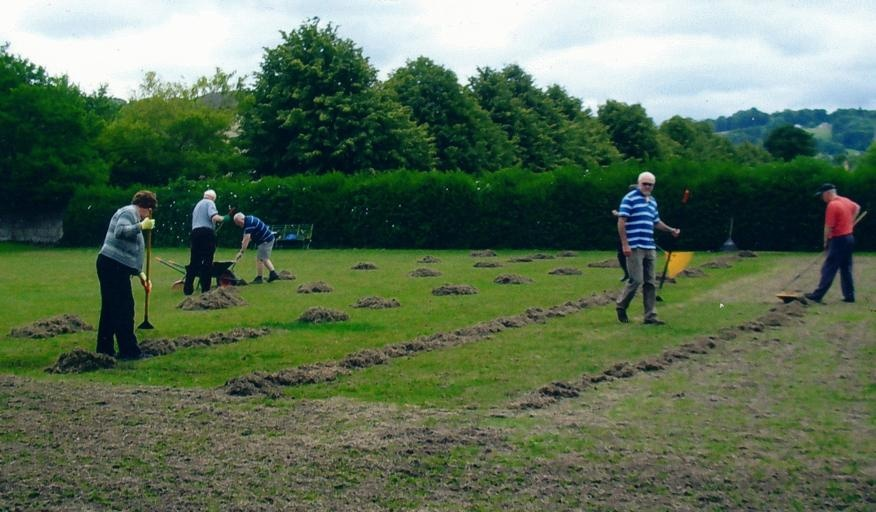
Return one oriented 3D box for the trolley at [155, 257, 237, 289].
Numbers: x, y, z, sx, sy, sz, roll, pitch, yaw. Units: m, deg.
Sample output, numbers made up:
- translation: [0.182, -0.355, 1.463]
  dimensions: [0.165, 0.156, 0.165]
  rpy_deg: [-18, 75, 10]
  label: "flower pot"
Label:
- translation: [-8.865, 0.621, 36.098]
  dimensions: [3.206, 0.942, 1.449]
  rpy_deg: [-1, 2, 1]
  label: "trolley"
